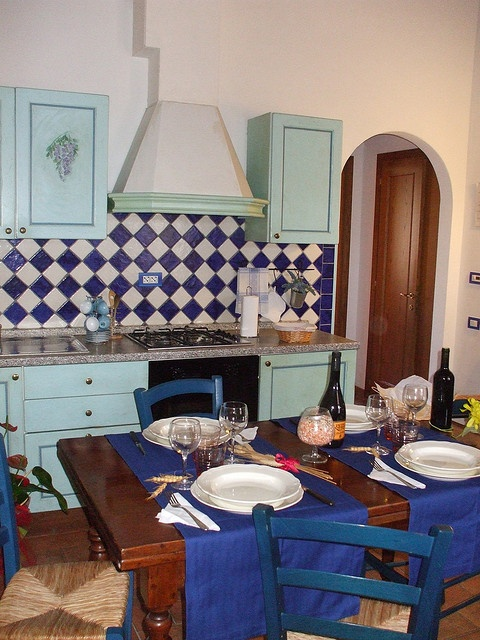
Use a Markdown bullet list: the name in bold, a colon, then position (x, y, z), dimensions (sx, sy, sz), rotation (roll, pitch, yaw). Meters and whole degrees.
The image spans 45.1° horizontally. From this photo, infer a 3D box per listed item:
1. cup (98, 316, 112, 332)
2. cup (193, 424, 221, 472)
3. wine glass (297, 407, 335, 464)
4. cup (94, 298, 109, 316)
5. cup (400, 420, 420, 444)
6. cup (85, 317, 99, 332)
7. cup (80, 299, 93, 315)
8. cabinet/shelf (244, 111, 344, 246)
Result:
- **cup**: position (-0.717, 0.018, 3.081), dimensions (0.059, 0.079, 0.072), rotation (-3, 8, -11)
- **cup**: position (-0.075, 0.337, 1.539), dimensions (0.101, 0.102, 0.095), rotation (-1, 5, 0)
- **wine glass**: position (0.207, 0.310, 1.673), dimensions (0.142, 0.184, 0.139), rotation (0, 10, 8)
- **cup**: position (-0.745, -0.073, 3.135), dimensions (0.062, 0.090, 0.133), rotation (-5, 9, -21)
- **cup**: position (0.512, 0.335, 1.769), dimensions (0.069, 0.069, 0.064), rotation (-2, 2, 0)
- **cup**: position (-0.764, 0.022, 3.023), dimensions (0.070, 0.078, 0.047), rotation (-4, 9, -13)
- **cup**: position (-0.812, -0.071, 3.096), dimensions (0.073, 0.070, 0.043), rotation (-31, -2, -18)
- **cabinet/shelf**: position (0.323, -0.835, 3.454), dimensions (0.504, 0.745, 0.357), rotation (-5, 9, -20)
